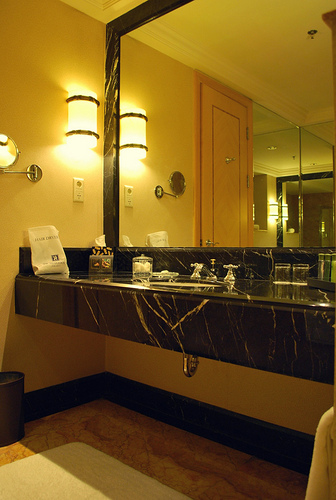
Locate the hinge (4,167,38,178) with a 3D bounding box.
[{"bbox_3d":[-0.707,-0.370,1.858,0.049,0.053,0.087,6,5,43],"label":"hinge"}]

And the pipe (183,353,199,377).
[{"bbox_3d":[0.097,0.476,1.578,0.053,0.096,0.093,0,-4,8],"label":"pipe"}]

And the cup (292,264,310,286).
[{"bbox_3d":[0.458,0.080,1.319,0.065,0.110,0.063,0,3,0],"label":"cup"}]

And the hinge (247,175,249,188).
[{"bbox_3d":[0.330,-0.283,1.564,0.006,0.052,0.013,3,-4,-24],"label":"hinge"}]

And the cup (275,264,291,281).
[{"bbox_3d":[0.415,0.081,1.376,0.051,0.063,0.054,-1,3,0],"label":"cup"}]

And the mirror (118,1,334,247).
[{"bbox_3d":[0.260,-0.546,1.630,0.095,0.840,1.092,-7,13,-30],"label":"mirror"}]

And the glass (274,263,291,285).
[{"bbox_3d":[0.414,0.085,1.383,0.061,0.077,0.065,-2,4,-10],"label":"glass"}]
